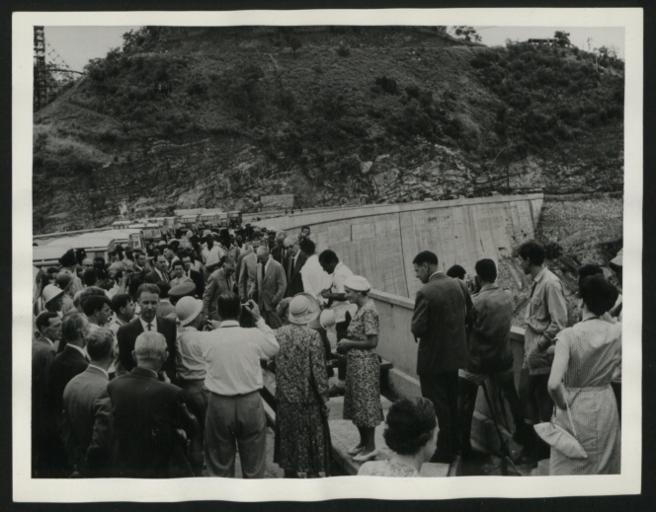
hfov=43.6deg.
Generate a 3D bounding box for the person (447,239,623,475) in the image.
[{"bbox_3d":[2.952,1.343,10.109,1.247,2.994,1.048,-2,4,15],"label":"person"}]

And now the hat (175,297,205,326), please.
[{"bbox_3d":[-1.749,0.703,10.362,0.314,0.157,0.322,-17,39,33],"label":"hat"}]

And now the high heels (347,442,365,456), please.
[{"bbox_3d":[0.348,2.415,10.258,0.209,0.115,0.078,-35,45,5],"label":"high heels"}]

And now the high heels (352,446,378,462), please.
[{"bbox_3d":[0.458,2.459,10.146,0.277,0.116,0.146,0,-3,-2],"label":"high heels"}]

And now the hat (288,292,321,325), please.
[{"bbox_3d":[-0.293,0.680,10.258,0.338,0.402,0.760,-3,4,3],"label":"hat"}]

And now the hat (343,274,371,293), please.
[{"bbox_3d":[0.377,0.339,10.211,0.299,0.201,0.376,-3,4,13],"label":"hat"}]

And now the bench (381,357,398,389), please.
[{"bbox_3d":[0.736,1.488,10.493,0.266,0.303,0.307,1,1,-5],"label":"bench"}]
